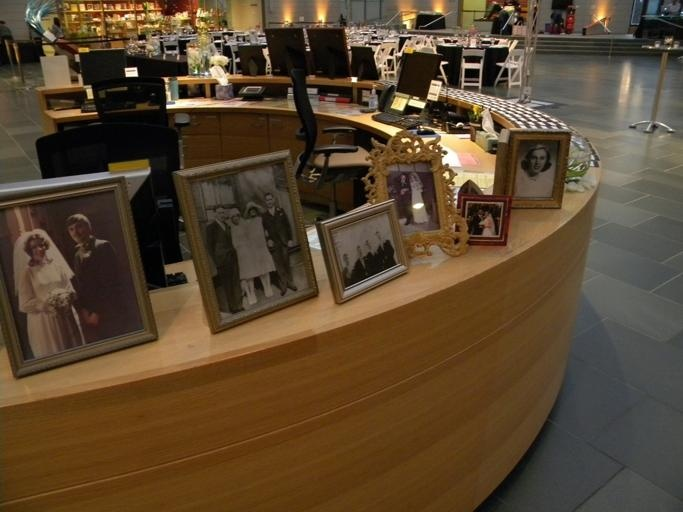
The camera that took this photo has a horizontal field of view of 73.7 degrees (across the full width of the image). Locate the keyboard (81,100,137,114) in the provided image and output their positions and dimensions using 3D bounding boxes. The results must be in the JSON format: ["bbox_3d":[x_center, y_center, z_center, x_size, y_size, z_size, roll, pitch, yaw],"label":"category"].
[{"bbox_3d":[-1.857,-1.194,3.656,0.361,0.078,0.334,-5,24,-13],"label":"keyboard"}]

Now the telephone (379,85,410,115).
[{"bbox_3d":[0.475,-1.414,4.175,0.074,0.278,0.315,2,20,-37],"label":"telephone"}]

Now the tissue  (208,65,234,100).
[{"bbox_3d":[-1.354,-1.966,5.158,0.214,0.364,0.261,-9,24,-12],"label":"tissue "}]

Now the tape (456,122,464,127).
[{"bbox_3d":[0.904,-1.006,3.497,0.057,0.028,0.098,1,22,10],"label":"tape"}]
